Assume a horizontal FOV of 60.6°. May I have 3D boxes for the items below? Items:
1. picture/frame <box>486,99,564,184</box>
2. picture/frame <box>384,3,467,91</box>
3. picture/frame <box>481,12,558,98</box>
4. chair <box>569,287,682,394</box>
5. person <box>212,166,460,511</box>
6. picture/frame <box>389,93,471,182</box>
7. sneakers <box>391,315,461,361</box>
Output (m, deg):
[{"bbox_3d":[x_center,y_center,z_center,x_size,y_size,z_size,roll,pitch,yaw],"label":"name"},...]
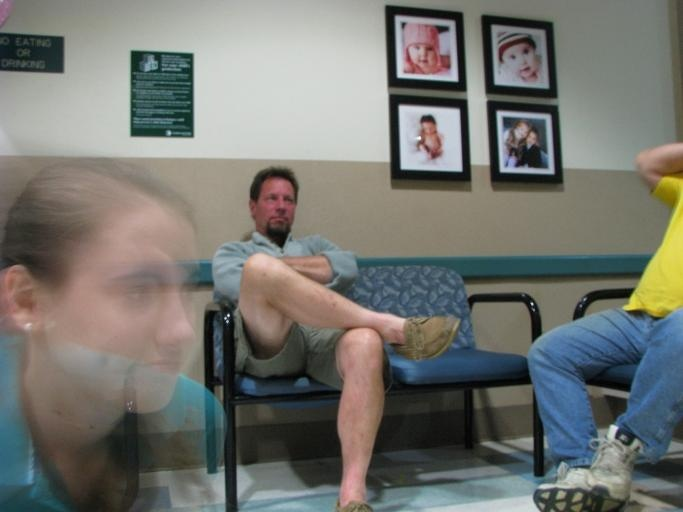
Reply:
[{"bbox_3d":[0.761,-0.477,2.477,0.336,0.362,0.024,3,-7,-21],"label":"picture/frame"},{"bbox_3d":[0.325,-0.840,2.377,0.359,0.374,0.017,0,-3,-12],"label":"picture/frame"},{"bbox_3d":[0.745,-0.851,2.494,0.358,0.373,0.026,-1,-1,-17],"label":"picture/frame"},{"bbox_3d":[0.836,0.247,1.801,0.264,0.373,0.290,-4,-16,28],"label":"chair"},{"bbox_3d":[-0.097,0.124,1.716,0.523,0.972,0.873,0,-4,-19],"label":"person"},{"bbox_3d":[0.342,-0.468,2.355,0.342,0.368,0.023,2,-8,-18],"label":"picture/frame"},{"bbox_3d":[0.207,0.194,1.432,0.148,0.085,0.070,-9,-22,40],"label":"sneakers"}]
